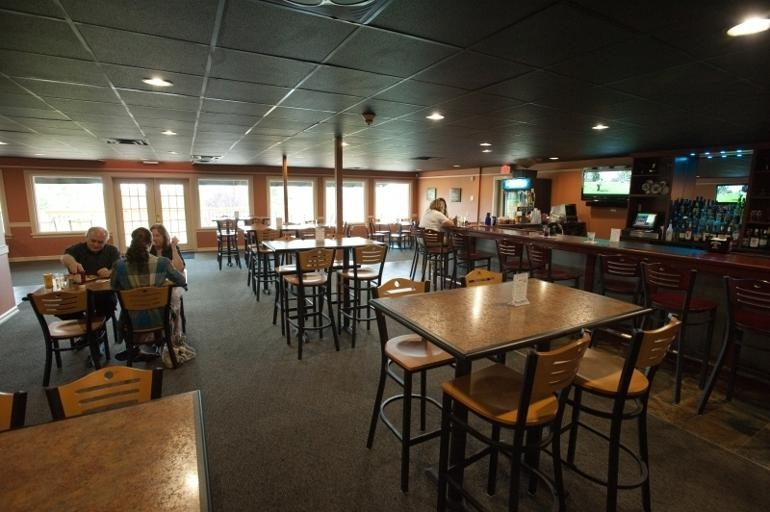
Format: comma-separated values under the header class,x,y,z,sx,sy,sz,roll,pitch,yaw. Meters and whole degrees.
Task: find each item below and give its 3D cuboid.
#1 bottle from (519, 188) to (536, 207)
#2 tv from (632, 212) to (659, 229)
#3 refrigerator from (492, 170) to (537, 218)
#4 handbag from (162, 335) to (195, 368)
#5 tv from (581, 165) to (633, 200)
class,x,y,z,sx,sy,sz,roll,pitch,yaw
bottle,3.049,-1.275,10.604,0.201,0.392,0.641,-6,7,-7
tv,4.519,-0.615,8.418,0.200,0.297,0.344,9,-1,-24
refrigerator,2.915,-1.405,10.866,0.523,1.274,1.424,-7,15,-18
handbag,-2.268,1.034,5.344,0.361,0.117,0.271,25,29,34
tv,4.155,-1.378,9.192,0.253,0.586,1.031,-8,8,-17
